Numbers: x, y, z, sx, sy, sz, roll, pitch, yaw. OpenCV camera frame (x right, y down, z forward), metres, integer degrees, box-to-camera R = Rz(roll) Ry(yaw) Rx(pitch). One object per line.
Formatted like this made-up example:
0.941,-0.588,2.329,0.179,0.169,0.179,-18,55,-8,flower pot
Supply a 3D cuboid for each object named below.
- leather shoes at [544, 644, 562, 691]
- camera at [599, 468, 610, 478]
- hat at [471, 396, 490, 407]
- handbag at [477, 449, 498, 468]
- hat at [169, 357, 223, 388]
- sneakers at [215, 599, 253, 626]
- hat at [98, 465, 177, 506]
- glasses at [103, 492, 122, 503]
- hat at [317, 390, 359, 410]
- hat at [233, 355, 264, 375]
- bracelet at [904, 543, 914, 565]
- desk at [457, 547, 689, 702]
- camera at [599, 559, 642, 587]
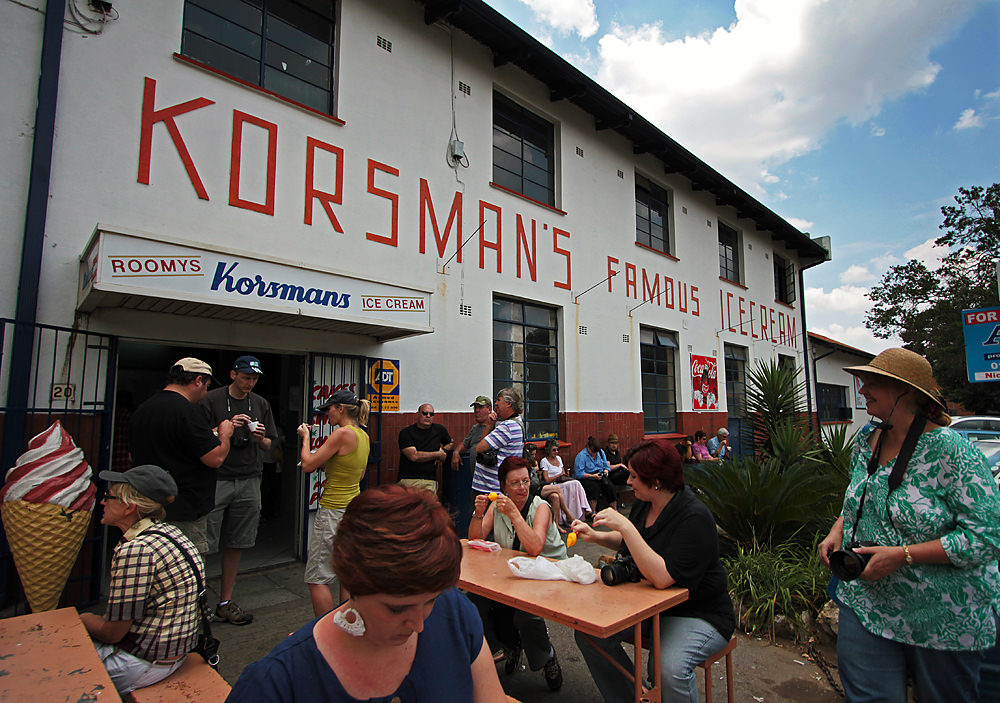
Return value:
0.485,2.823,5.440,0.125,0.397,0.159,-6,4,32,leather shoes
1.791,2.110,10.616,0.154,0.091,0.225,-1,-4,-3,camera
-0.240,0.693,8.752,0.156,0.111,0.221,-9,-15,24,hat
-0.156,1.390,8.010,0.211,0.217,0.091,-8,-16,41,handbag
-3.054,0.187,6.214,0.284,0.228,0.417,5,5,22,hat
-2.794,2.745,6.463,0.413,0.185,0.197,0,-8,23,sneakers
-2.771,0.974,4.723,0.471,0.210,0.307,20,2,-12,hat
-2.960,1.107,4.651,0.156,0.050,0.154,7,-7,-15,glasses
-1.662,0.494,6.254,0.311,0.170,0.221,0,-8,0,hat
-2.761,0.146,6.655,0.284,0.157,0.200,-2,-6,40,hat
2.669,1.335,4.018,0.059,0.121,0.016,1,-6,-1,bracelet
0.543,2.187,4.675,1.589,0.826,0.801,-3,-6,29,desk
0.943,1.706,4.839,0.182,0.183,0.246,10,-15,-37,camera
